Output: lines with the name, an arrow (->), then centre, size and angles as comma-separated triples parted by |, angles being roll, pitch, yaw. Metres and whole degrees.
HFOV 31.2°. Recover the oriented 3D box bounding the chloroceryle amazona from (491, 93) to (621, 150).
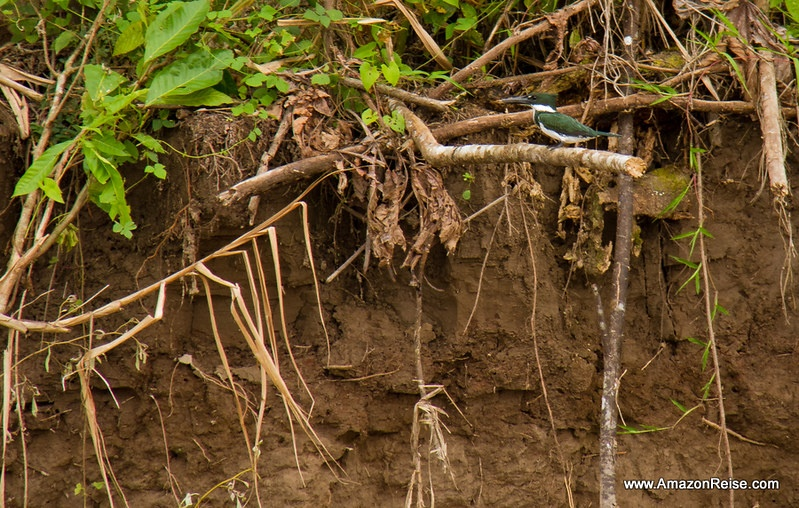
chloroceryle amazona -> 1.326, -1.181, 12.091 | 1.286, 0.606, 0.388 | 9, 11, 27
